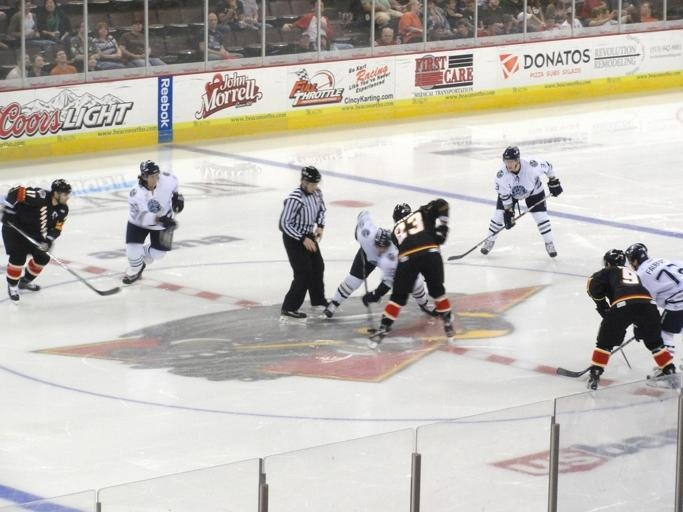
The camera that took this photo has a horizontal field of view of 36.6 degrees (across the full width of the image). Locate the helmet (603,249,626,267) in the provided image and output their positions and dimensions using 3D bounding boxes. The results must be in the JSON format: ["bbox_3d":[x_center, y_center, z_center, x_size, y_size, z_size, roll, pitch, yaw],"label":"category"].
[{"bbox_3d":[2.130,0.011,8.013,0.143,0.138,0.151,-4,28,-9],"label":"helmet"}]

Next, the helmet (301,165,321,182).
[{"bbox_3d":[-0.282,-0.738,9.110,0.155,0.086,0.191,-1,9,-16],"label":"helmet"}]

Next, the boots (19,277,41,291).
[{"bbox_3d":[-3.083,0.263,10.069,0.258,0.095,0.074,11,36,-30],"label":"boots"}]

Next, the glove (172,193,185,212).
[{"bbox_3d":[-1.649,-0.561,10.402,0.161,0.169,0.079,2,27,9],"label":"glove"}]

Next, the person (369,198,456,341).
[{"bbox_3d":[0.577,0.116,8.763,0.738,1.197,0.448,-4,7,-4],"label":"person"}]

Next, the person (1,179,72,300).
[{"bbox_3d":[-2.919,-0.171,9.801,0.881,1.122,0.482,1,9,31],"label":"person"}]

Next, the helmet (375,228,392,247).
[{"bbox_3d":[0.355,-0.173,9.036,0.145,0.135,0.161,2,8,2],"label":"helmet"}]

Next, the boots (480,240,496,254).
[{"bbox_3d":[1.569,-0.110,11.136,0.105,0.079,0.186,19,57,22],"label":"boots"}]

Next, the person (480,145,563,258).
[{"bbox_3d":[1.936,-0.612,11.242,0.875,1.193,0.673,-2,7,10],"label":"person"}]

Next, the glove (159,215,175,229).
[{"bbox_3d":[-1.754,-0.354,10.258,0.182,0.136,0.081,-8,8,-39],"label":"glove"}]

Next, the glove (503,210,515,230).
[{"bbox_3d":[1.816,-0.420,11.283,0.168,0.178,0.074,9,-3,0],"label":"glove"}]

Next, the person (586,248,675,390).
[{"bbox_3d":[2.166,0.526,7.806,0.626,0.906,0.338,-2,8,14],"label":"person"}]

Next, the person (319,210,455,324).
[{"bbox_3d":[0.368,0.115,9.370,1.094,1.182,0.606,15,37,8],"label":"person"}]

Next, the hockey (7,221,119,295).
[{"bbox_3d":[-2.841,0.032,10.397,1.264,0.159,0.180,33,-38,-22],"label":"hockey"}]

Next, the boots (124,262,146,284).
[{"bbox_3d":[-2.052,0.159,10.382,0.130,0.119,0.326,8,22,19],"label":"boots"}]

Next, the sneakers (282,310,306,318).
[{"bbox_3d":[-0.446,0.512,9.304,0.242,0.073,0.069,2,28,-12],"label":"sneakers"}]

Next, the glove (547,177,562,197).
[{"bbox_3d":[2.332,-0.785,11.330,0.199,0.196,0.086,-5,23,18],"label":"glove"}]

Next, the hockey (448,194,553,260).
[{"bbox_3d":[1.796,-0.324,11.652,1.580,0.069,0.204,-27,56,1],"label":"hockey"}]

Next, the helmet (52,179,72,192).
[{"bbox_3d":[-2.641,-0.667,9.654,0.162,0.128,0.285,-5,6,-15],"label":"helmet"}]

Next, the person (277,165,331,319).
[{"bbox_3d":[-0.376,-0.136,9.340,0.453,1.364,0.504,-4,7,-1],"label":"person"}]

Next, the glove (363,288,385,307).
[{"bbox_3d":[0.215,0.350,9.351,0.292,0.087,0.119,-22,8,-2],"label":"glove"}]

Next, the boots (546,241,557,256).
[{"bbox_3d":[2.236,-0.102,11.015,0.091,0.078,0.211,-8,26,-4],"label":"boots"}]

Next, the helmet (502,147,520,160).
[{"bbox_3d":[1.791,-1.113,10.970,0.159,0.131,0.208,-2,6,7],"label":"helmet"}]
